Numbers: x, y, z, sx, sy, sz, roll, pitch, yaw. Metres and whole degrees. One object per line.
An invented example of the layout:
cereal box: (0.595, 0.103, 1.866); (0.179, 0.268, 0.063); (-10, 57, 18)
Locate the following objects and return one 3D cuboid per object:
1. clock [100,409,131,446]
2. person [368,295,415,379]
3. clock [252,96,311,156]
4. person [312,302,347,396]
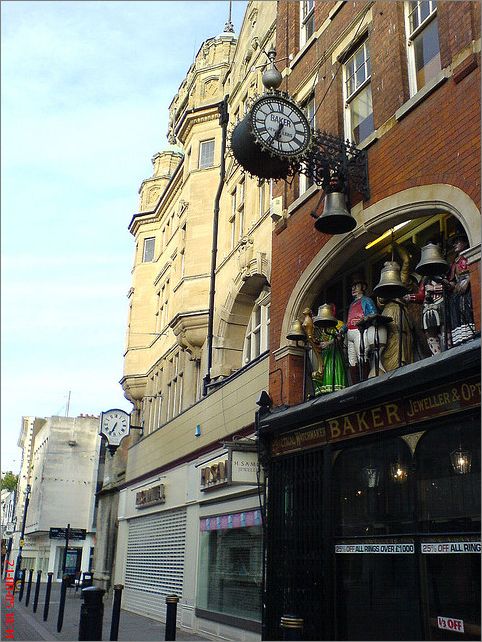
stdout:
clock: (-5.007, 4.248, 26.777); (0.572, 1.439, 1.432); (-16, -27, 34)
person: (1.944, 0.223, 8.739); (0.445, 1.094, 0.529); (21, -39, -19)
clock: (0.488, -2.440, 8.603); (0.787, 0.795, 0.043); (8, -23, -35)
person: (1.246, 0.408, 9.477); (0.449, 1.323, 0.634); (-3, -22, 5)
